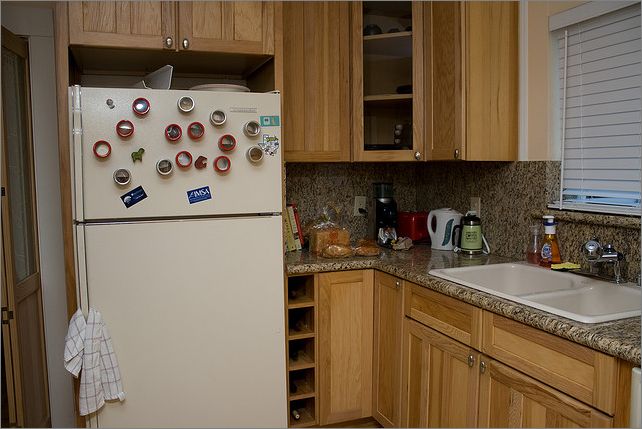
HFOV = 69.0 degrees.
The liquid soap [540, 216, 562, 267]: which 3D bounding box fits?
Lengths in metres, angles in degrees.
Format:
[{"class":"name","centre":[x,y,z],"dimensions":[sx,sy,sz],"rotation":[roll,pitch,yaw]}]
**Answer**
[{"class":"liquid soap","centre":[1.233,0.137,2.495],"dimensions":[0.101,0.264,0.115],"rotation":[1,8,32]}]

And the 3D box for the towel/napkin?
[{"class":"towel/napkin","centre":[-1.146,0.748,2.339],"dimensions":[0.252,0.567,0.081],"rotation":[-2,7,4]}]

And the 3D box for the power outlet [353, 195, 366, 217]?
[{"class":"power outlet","centre":[0.284,-0.064,3.336],"dimensions":[0.107,0.149,0.026],"rotation":[-6,8,-27]}]

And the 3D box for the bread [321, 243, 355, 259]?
[{"class":"bread","centre":[0.107,0.218,2.842],"dimensions":[0.212,0.080,0.105],"rotation":[-4,7,-4]}]

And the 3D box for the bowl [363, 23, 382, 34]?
[{"class":"bowl","centre":[0.320,-1.139,2.860],"dimensions":[0.107,0.067,0.017],"rotation":[-4,7,-5]}]

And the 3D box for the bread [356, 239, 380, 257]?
[{"class":"bread","centre":[0.296,0.206,2.942],"dimensions":[0.154,0.076,0.192],"rotation":[-2,7,5]}]

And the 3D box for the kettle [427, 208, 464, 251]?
[{"class":"kettle","centre":[0.858,0.085,3.053],"dimensions":[0.156,0.243,0.209],"rotation":[-7,14,-27]}]

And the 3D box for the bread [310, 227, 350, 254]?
[{"class":"bread","centre":[0.054,0.147,2.955],"dimensions":[0.231,0.169,0.144],"rotation":[0,8,-11]}]

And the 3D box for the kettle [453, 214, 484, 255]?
[{"class":"kettle","centre":[0.923,0.115,2.924],"dimensions":[0.191,0.248,0.185],"rotation":[0,7,20]}]

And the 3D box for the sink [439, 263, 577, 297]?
[{"class":"sink","centre":[0.955,0.337,2.490],"dimensions":[0.307,0.087,0.307],"rotation":[-3,5,-34]}]

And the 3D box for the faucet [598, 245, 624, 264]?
[{"class":"faucet","centre":[1.376,0.183,2.208],"dimensions":[0.088,0.060,0.091],"rotation":[-3,2,20]}]
